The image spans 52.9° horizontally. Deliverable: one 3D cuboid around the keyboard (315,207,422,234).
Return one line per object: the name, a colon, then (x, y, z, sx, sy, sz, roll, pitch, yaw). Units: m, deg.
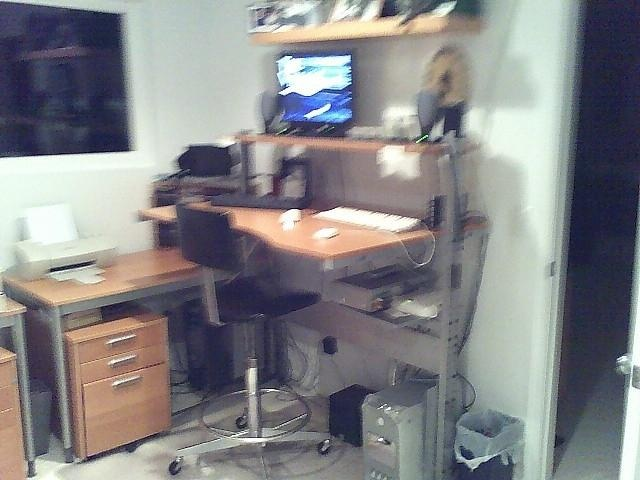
keyboard: (0.154, -0.066, 2.039, 0.305, 0.059, 0.153, 5, 14, 31)

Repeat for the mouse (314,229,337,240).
mouse: (0.019, -0.019, 1.945, 0.046, 0.009, 0.043, -10, 14, -42)

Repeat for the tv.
tv: (-0.019, -0.457, 1.977, 0.374, 0.271, 0.015, -2, 12, -16)
